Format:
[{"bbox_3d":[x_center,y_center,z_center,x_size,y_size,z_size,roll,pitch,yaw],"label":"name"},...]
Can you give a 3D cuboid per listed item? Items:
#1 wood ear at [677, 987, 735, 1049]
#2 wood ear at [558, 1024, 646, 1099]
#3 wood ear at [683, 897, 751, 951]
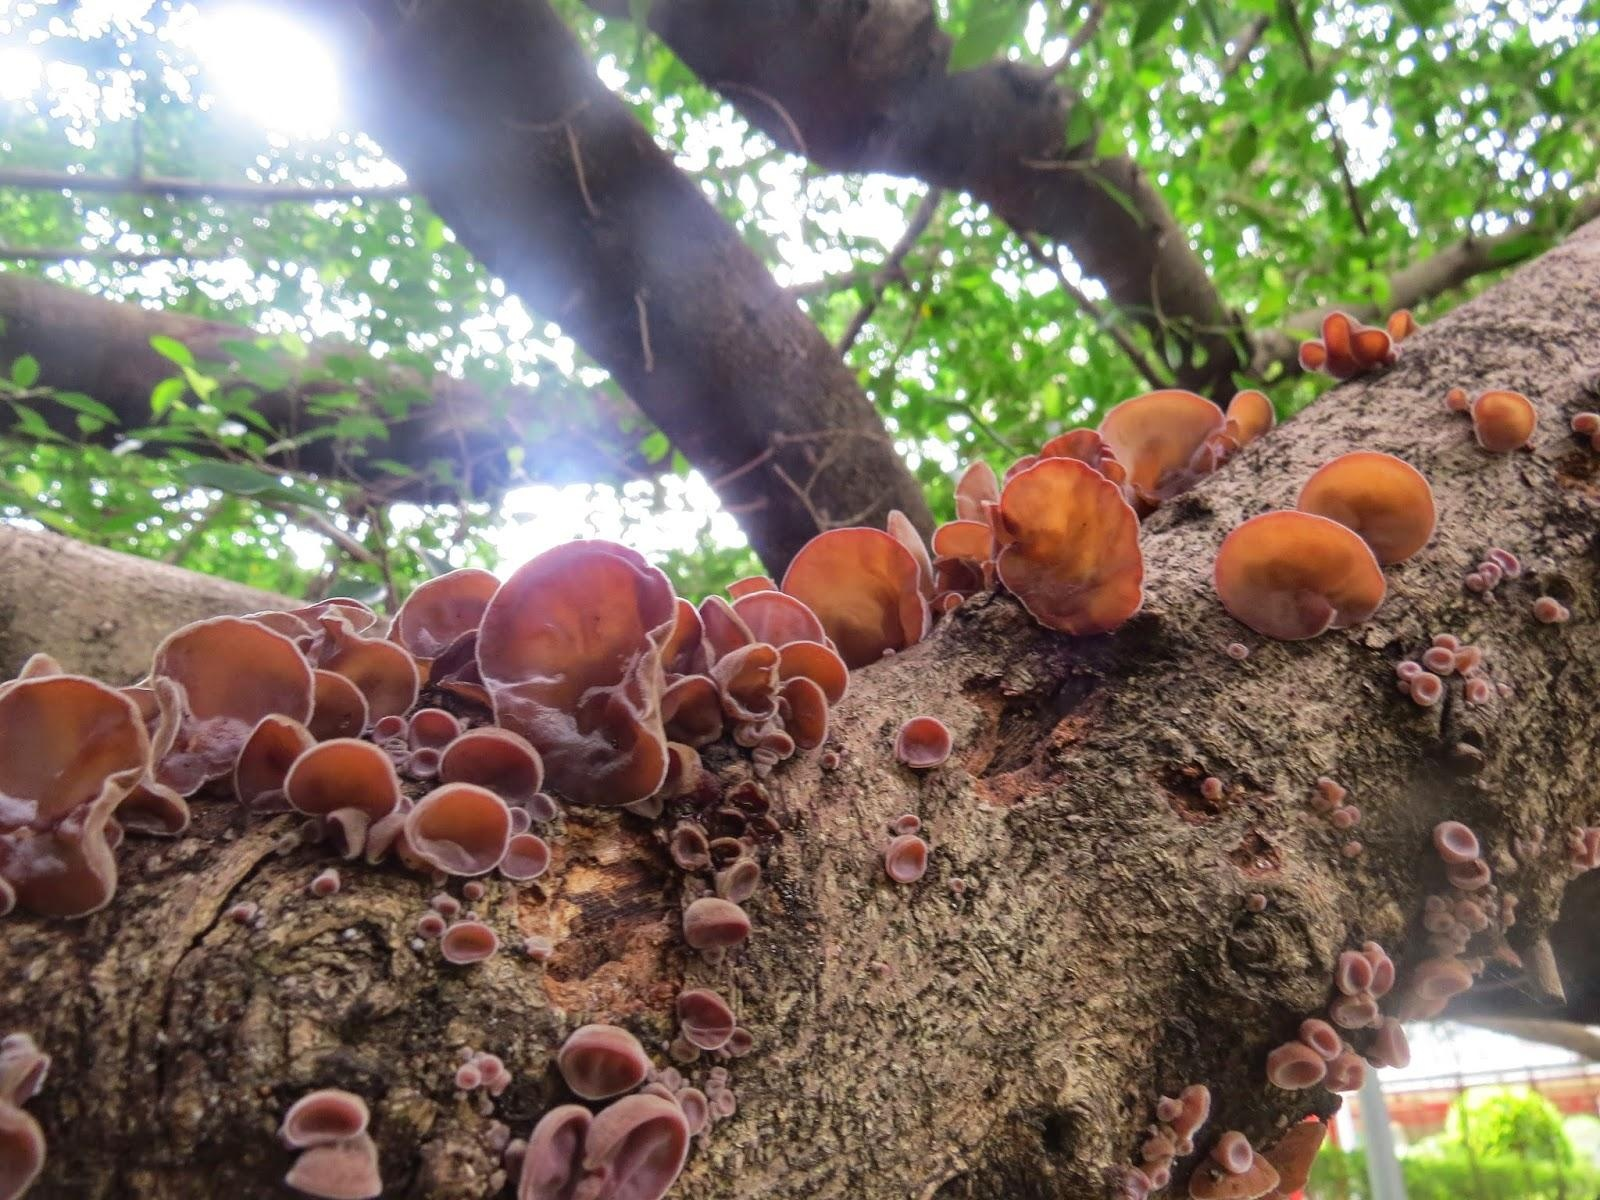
[{"bbox_3d":[-0.261,1.167,3.938,0.163,0.168,0.066,-3,-21,-6],"label":"wood ear"},{"bbox_3d":[-0.540,1.278,3.836,0.195,0.073,0.204,-5,21,-11],"label":"wood ear"},{"bbox_3d":[-0.240,0.919,3.987,0.151,0.153,0.087,4,-44,-4],"label":"wood ear"}]
